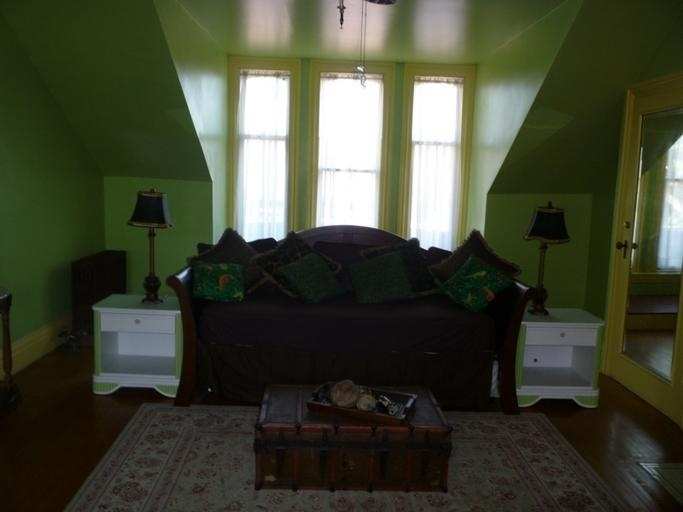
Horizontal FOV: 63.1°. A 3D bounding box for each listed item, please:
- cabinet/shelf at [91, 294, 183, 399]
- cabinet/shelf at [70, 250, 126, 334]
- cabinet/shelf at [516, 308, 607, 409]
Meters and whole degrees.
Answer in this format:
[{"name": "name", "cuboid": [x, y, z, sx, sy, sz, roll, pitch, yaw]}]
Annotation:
[{"name": "cabinet/shelf", "cuboid": [-1.478, 0.652, 4.224, 0.632, 0.639, 0.515, 3, 10, -5]}, {"name": "cabinet/shelf", "cuboid": [-2.091, 0.311, 4.716, 0.251, 0.807, 0.700, -1, -3, 6]}, {"name": "cabinet/shelf", "cuboid": [1.540, 0.662, 4.239, 0.769, 0.793, 0.637, 0, 2, 5]}]
